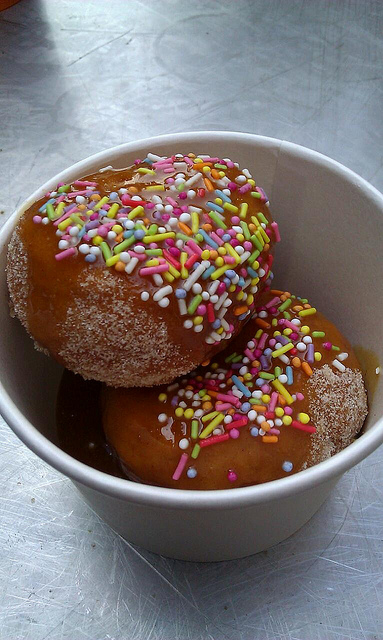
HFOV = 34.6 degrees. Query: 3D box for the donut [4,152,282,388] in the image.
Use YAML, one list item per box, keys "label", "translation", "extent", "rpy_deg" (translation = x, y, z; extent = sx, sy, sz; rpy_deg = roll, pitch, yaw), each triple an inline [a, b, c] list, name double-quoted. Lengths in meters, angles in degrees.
- label: "donut"
  translation: [-0.063, -0.098, 0.931]
  extent: [0.325, 0.202, 0.414]
  rpy_deg: [27, 53, 27]
